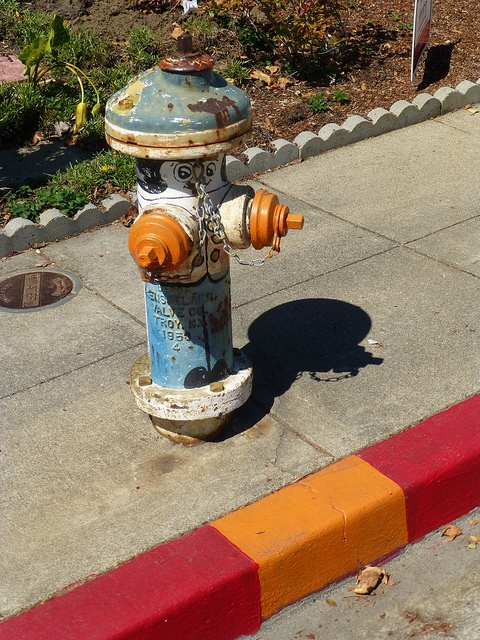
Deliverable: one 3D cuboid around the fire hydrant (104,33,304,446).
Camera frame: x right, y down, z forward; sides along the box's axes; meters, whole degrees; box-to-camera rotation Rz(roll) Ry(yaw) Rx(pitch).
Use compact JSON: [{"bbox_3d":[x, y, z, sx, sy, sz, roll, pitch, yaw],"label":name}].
[{"bbox_3d":[-0.170,-0.253,3.213,0.686,1.818,0.524,-8,30,-12],"label":"fire hydrant"}]
